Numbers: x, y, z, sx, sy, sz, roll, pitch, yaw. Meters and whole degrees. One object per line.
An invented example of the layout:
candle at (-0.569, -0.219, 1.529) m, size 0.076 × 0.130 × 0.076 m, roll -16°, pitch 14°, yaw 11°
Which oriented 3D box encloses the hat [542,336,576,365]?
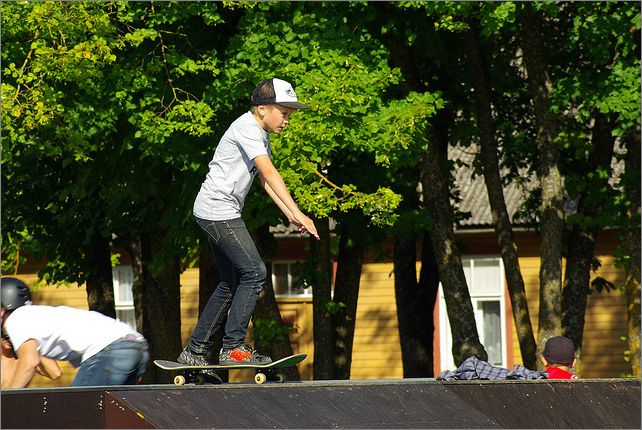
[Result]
hat at (3.406, 1.940, 19.437) m, size 0.447 × 0.328 × 0.657 m, roll 3°, pitch 13°, yaw 5°

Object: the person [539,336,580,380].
person at (3.432, 1.924, 19.604) m, size 0.435 × 0.401 × 0.762 m, roll 3°, pitch 8°, yaw 16°
